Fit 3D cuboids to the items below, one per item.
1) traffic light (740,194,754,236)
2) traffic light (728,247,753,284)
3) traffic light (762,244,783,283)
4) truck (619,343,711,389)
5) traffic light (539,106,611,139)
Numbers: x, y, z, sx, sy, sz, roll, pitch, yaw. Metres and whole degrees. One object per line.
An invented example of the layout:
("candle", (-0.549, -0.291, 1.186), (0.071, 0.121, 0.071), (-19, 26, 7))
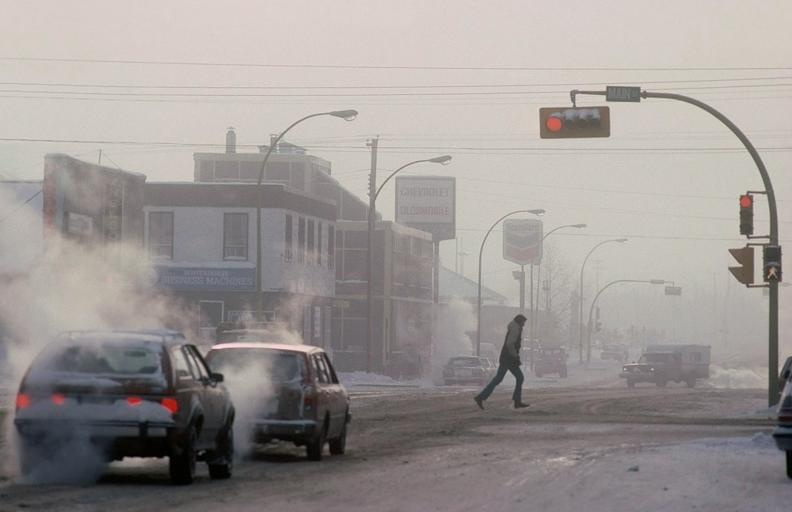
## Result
("traffic light", (9.530, -1.122, 36.984), (0.278, 1.119, 0.284), (-3, -2, 28))
("traffic light", (9.294, 0.245, 36.253), (0.424, 1.010, 0.918), (-3, -2, 42))
("traffic light", (10.021, 0.187, 36.233), (0.441, 1.003, 0.338), (-2, -2, 22))
("truck", (12.184, 5.013, 61.777), (3.436, 1.534, 2.096), (5, -7, -36))
("traffic light", (4.425, -3.340, 33.658), (1.687, 0.866, 1.022), (-2, -2, 3))
